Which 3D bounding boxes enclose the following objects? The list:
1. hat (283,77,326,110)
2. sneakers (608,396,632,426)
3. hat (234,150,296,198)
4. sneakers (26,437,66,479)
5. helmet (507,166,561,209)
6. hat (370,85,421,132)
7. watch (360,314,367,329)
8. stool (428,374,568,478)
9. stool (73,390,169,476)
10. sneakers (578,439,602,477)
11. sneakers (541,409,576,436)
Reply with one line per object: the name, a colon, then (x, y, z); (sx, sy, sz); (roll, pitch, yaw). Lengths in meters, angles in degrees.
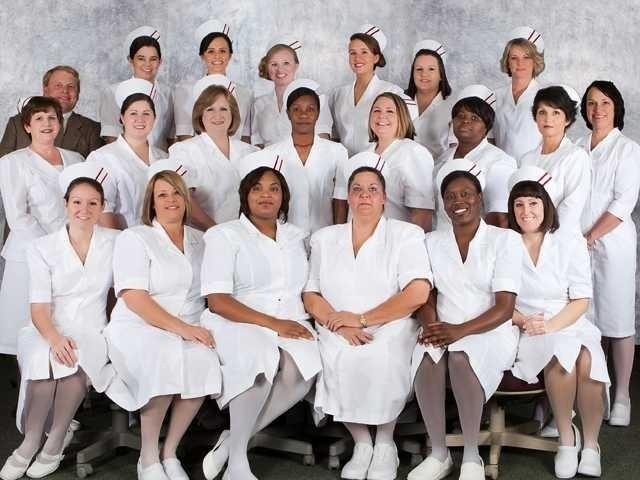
hat: (-0.096, -0.887, 3.915); (0.222, 0.214, 0.050); (-10, 41, 1)
sneakers: (1.610, 0.910, 3.611); (0.074, 0.063, 0.196); (-2, 14, 23)
hat: (-0.311, -0.373, 3.478); (0.239, 0.182, 0.235); (-6, 42, 0)
sneakers: (-1.227, 0.986, 3.040); (0.093, 0.050, 0.183); (13, 44, 8)
helmet: (1.057, -0.267, 3.345); (0.215, 0.121, 0.243); (5, 7, 4)
hat: (0.429, -0.750, 3.769); (0.247, 0.302, 0.303); (3, -10, 2)
watch: (0.200, 0.375, 3.098); (0.034, 0.074, 0.047); (-2, 7, 1)
stool: (0.838, 0.808, 3.281); (0.490, 0.488, 0.509); (6, -6, -41)
stool: (-0.995, 0.904, 3.156); (0.293, 0.176, 0.271); (0, 11, 1)
sneakers: (1.214, 0.977, 3.025); (0.068, 0.063, 0.182); (-1, 13, 22)
sneakers: (1.208, 0.938, 3.442); (0.105, 0.120, 0.305); (-5, -1, 17)
